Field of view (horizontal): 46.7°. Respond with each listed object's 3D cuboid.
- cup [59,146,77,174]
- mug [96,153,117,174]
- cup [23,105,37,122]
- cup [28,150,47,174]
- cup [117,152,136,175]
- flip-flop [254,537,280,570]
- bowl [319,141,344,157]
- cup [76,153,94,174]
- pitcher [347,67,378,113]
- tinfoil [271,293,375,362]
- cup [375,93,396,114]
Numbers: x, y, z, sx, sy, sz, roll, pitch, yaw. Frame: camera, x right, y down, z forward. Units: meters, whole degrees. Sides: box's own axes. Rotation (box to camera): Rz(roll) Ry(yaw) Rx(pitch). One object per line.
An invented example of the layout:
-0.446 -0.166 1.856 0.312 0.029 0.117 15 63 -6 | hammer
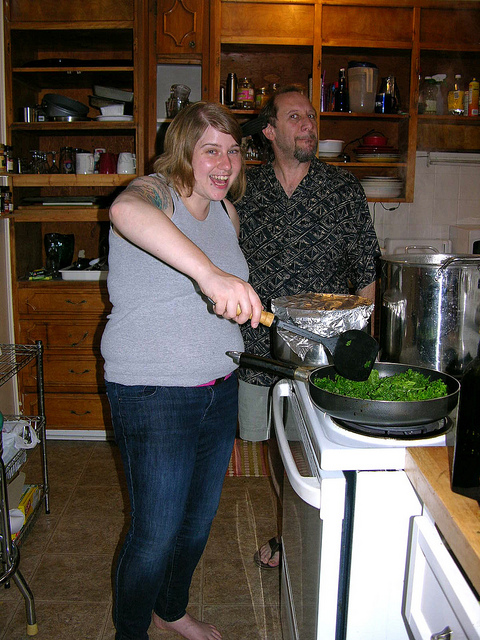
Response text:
-0.914 -0.843 2.939 0.083 0.152 0.174 -3 11 -17 | cup
-0.693 -0.815 2.905 0.099 0.113 0.128 -2 10 -12 | mug
-1.080 -1.060 2.866 0.064 0.099 0.127 -3 10 -16 | cup
-1.068 -0.823 2.922 0.090 0.122 0.160 -4 11 -19 | cup
-0.581 -0.794 2.845 0.077 0.100 0.121 9 7 40 | cup
0.089 0.802 1.916 0.080 0.068 0.094 0 10 0 | flip-flop
0.508 -0.941 3.063 0.092 0.054 0.083 12 21 40 | bowl
-0.803 -0.812 2.889 0.089 0.109 0.087 0 10 0 | cup
0.656 -1.244 2.998 0.227 0.250 0.172 -5 18 -8 | pitcher
0.204 0.018 1.471 0.250 0.144 0.294 -5 11 -24 | tinfoil
0.800 -1.207 3.086 0.146 0.128 0.089 0 20 5 | cup
